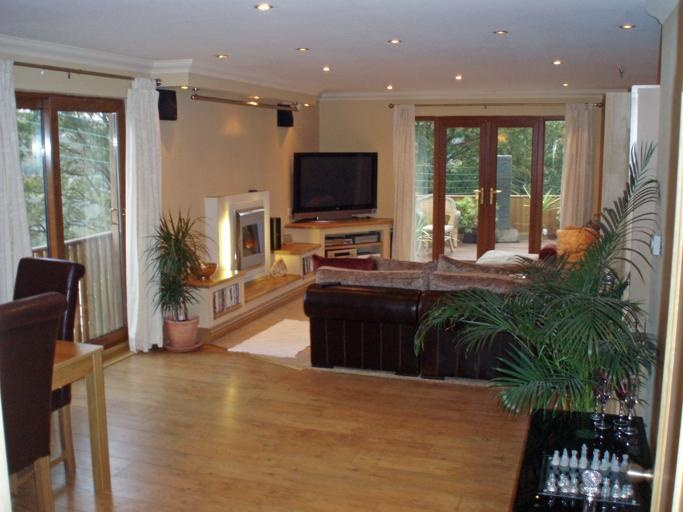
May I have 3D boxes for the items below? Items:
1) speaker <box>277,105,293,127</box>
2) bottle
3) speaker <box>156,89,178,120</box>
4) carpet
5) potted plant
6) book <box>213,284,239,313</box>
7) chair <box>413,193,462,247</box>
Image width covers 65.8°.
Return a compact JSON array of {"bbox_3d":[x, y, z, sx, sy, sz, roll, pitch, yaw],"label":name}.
[{"bbox_3d":[-0.860,-2.114,7.918,0.310,0.301,0.167,-3,7,-41],"label":"speaker"},{"bbox_3d":[1.151,1.028,2.462,0.271,0.083,0.274,-2,13,0],"label":"bottle"},{"bbox_3d":[-1.900,-1.635,5.826,0.284,0.270,0.168,2,6,9],"label":"speaker"},{"bbox_3d":[-0.855,0.865,6.044,0.952,0.119,2.081,-2,11,-5],"label":"carpet"},{"bbox_3d":[-1.727,0.280,5.581,0.470,1.404,0.555,0,12,5],"label":"potted plant"},{"bbox_3d":[-1.323,0.480,5.975,0.065,0.165,0.338,-1,7,19],"label":"book"},{"bbox_3d":[1.706,-0.570,9.119,0.685,0.842,0.681,4,8,24],"label":"chair"}]
